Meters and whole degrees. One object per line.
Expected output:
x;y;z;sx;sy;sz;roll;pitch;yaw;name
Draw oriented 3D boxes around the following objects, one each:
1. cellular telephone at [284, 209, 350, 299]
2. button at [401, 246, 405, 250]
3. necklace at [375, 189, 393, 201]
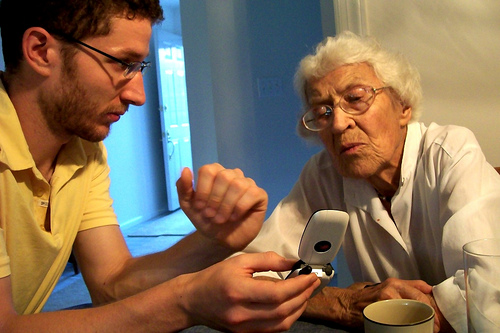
0.191;0.250;1.195;0.125;0.255;0.058;14;34;-18;cellular telephone
0.647;0.341;1.731;0.005;0.018;0.018;-9;1;-1;button
0.610;0.126;1.845;0.044;0.051;0.047;-2;4;4;necklace
